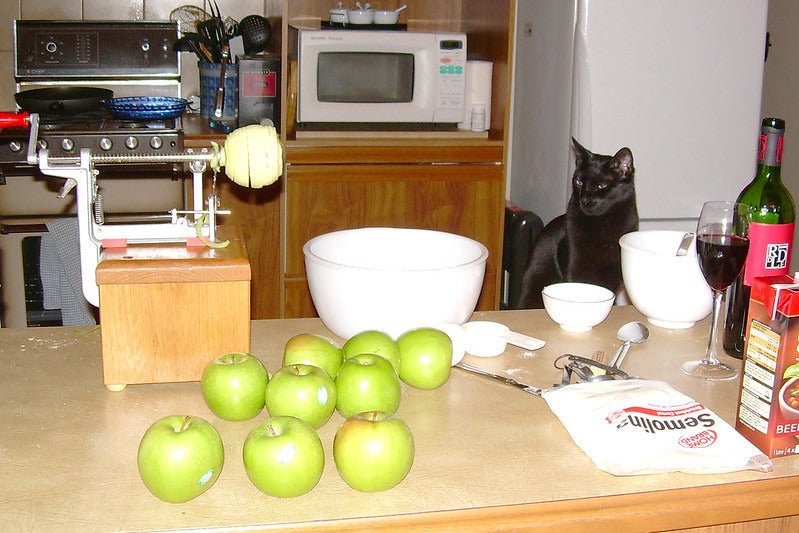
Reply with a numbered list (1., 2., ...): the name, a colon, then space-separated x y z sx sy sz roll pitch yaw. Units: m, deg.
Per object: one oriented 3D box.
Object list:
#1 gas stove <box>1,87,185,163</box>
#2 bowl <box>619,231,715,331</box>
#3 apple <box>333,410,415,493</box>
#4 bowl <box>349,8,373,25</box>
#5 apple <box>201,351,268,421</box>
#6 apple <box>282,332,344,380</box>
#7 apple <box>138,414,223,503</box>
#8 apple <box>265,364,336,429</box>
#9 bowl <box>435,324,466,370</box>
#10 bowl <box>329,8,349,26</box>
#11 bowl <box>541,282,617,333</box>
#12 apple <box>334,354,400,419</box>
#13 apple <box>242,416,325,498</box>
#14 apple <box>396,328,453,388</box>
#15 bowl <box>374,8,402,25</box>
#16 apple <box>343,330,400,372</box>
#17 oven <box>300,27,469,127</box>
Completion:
1. gas stove: -1.113 -0.518 2.337 0.545 0.137 0.574 -3 15 -13
2. bowl: 0.548 0.034 1.392 0.201 0.164 0.215 -3 16 1
3. apple: -0.039 0.275 0.934 0.128 0.115 0.125 -1 0 -21
4. bowl: -0.171 -1.111 2.838 0.114 0.058 0.061 -1 16 -5
5. apple: -0.264 0.203 1.047 0.118 0.109 0.116 2 -1 17
6. apple: -0.143 0.145 1.078 0.078 0.069 0.077 2 4 -3
7. apple: -0.310 0.275 0.912 0.120 0.116 0.118 3 17 0
8. apple: -0.151 0.204 1.013 0.098 0.081 0.100 3 9 27
9. bowl: 0.087 0.153 1.192 0.066 0.070 0.066 0 -23 0
10. bowl: -0.266 -1.119 2.866 0.079 0.070 0.074 0 16 0
11. bowl: 0.370 0.067 1.343 0.118 0.064 0.116 2 11 0
12. apple: -0.052 0.178 0.998 0.094 0.089 0.091 0 3 -4
13. apple: -0.163 0.260 0.922 0.108 0.106 0.101 2 9 -6
14. apple: 0.046 0.160 1.148 0.103 0.095 0.096 5 0 9
15. bowl: -0.053 -1.119 2.882 0.090 0.037 0.087 -1 17 0
16. apple: -0.047 0.138 1.090 0.076 0.084 0.074 0 -3 0
17. oven: -0.103 -0.770 3.018 0.633 0.346 0.457 -1 11 -5
